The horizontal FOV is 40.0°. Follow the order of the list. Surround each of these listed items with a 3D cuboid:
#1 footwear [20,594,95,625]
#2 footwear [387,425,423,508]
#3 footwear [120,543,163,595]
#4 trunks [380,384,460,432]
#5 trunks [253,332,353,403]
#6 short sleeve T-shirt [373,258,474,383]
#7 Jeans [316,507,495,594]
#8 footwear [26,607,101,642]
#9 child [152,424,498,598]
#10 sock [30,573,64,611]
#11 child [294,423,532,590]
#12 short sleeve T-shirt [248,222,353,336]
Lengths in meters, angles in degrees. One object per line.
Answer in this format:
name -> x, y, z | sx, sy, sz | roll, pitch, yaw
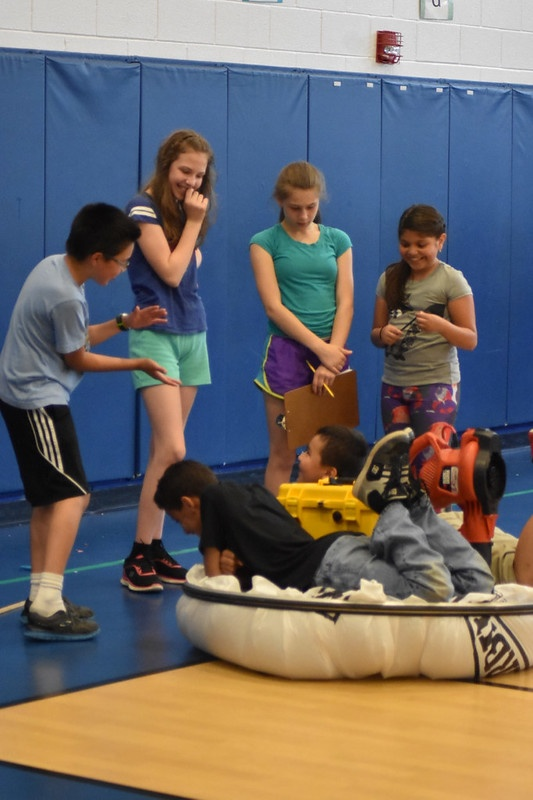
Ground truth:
footwear -> -0.686, 0.689, 2.393 | 0.270, 0.106, 0.092 | 5, 3, -28
footwear -> 0.360, 0.176, 1.963 | 0.072, 0.218, 0.151 | 2, -3, -7
footwear -> -0.484, 0.642, 2.846 | 0.103, 0.193, 0.259 | 11, -6, -33
trunks -> 0.668, 0.025, 3.256 | 0.340, 0.327, 0.203 | -2, -3, 42
trunks -> 0.169, -0.141, 3.138 | 0.375, 0.349, 0.204 | 22, -10, -26
short sleeve T-shirt -> 0.678, -0.366, 3.287 | 0.427, 0.504, 0.281 | 5, 11, 18
Jeans -> 0.344, 0.411, 1.978 | 0.258, 0.187, 0.375 | -1, -10, -21
footwear -> -0.633, 0.697, 2.293 | 0.233, 0.112, 0.090 | 2, -1, -11
child -> 0.132, 0.340, 2.108 | 0.990, 0.457, 0.379 | -6, -12, 29
sock -> -0.674, 0.596, 2.259 | 0.093, 0.136, 0.074 | 0, -4, -18
child -> 0.405, 0.304, 2.110 | 0.427, 0.329, 0.664 | -3, -4, -7
short sleeve T-shirt -> 0.167, -0.545, 3.244 | 0.489, 0.497, 0.252 | -1, 9, -13
